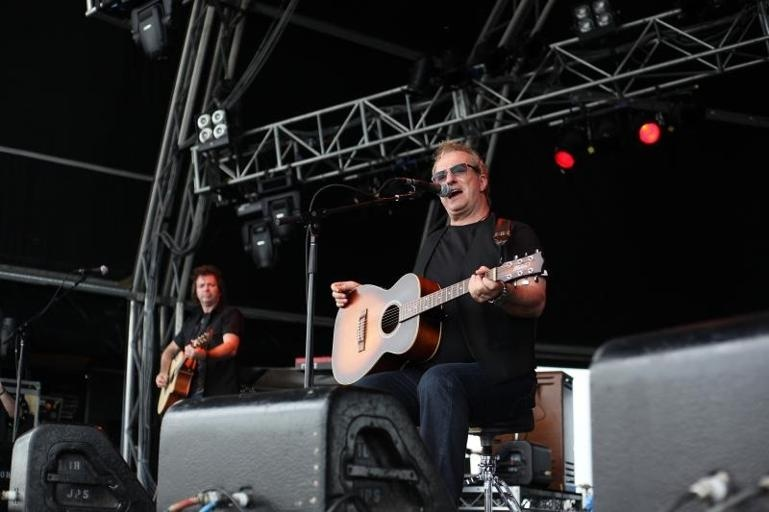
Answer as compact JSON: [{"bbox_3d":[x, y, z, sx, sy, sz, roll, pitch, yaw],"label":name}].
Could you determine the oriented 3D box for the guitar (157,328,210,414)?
[{"bbox_3d":[-1.830,1.060,6.980,0.134,0.447,1.060,21,-57,-20],"label":"guitar"}]
